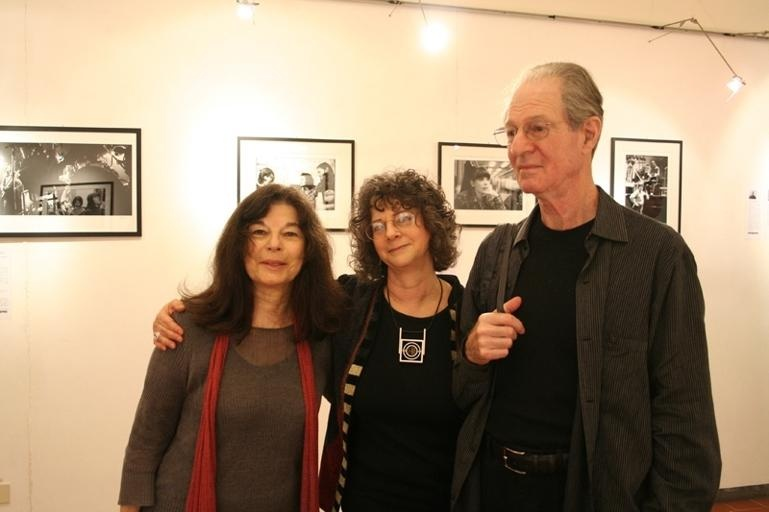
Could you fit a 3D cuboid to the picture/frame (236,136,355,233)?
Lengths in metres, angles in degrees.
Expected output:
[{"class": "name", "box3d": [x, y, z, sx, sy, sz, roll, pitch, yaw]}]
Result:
[{"class": "picture/frame", "box3d": [-0.712, -0.577, 4.710, 0.864, 0.696, 0.030, 0, 4, -6]}]

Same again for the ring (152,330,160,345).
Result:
[{"class": "ring", "box3d": [-1.352, 0.478, 3.676, 0.052, 0.069, 0.022, 4, 6, 36]}]

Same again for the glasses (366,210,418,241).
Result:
[{"class": "glasses", "box3d": [0.060, -0.220, 3.946, 0.217, 0.098, 0.225, -7, -5, 11]}]

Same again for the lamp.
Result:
[{"class": "lamp", "box3d": [2.876, -1.865, 5.732, 0.493, 0.821, 0.184, -39, 8, 6]}]
